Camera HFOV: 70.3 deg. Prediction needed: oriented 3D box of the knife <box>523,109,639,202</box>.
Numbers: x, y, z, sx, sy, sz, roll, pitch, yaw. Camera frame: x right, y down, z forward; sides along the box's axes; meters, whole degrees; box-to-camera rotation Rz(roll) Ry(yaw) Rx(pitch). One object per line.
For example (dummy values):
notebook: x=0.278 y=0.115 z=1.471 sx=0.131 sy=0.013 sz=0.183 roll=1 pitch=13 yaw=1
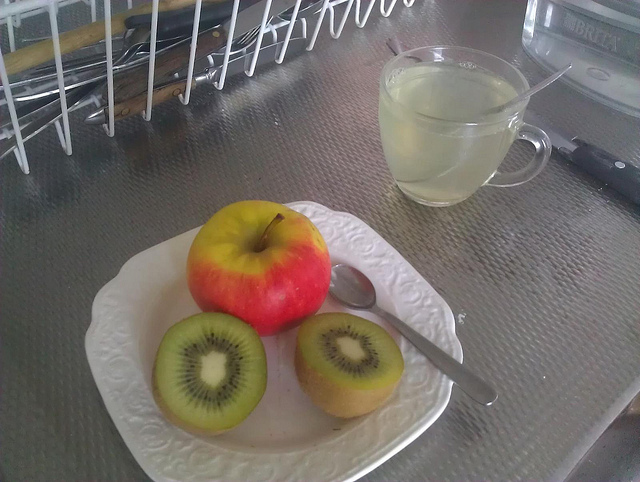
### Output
knife: x=0.398 y=-0.126 z=0.693 sx=0.028 sy=0.018 sz=0.219 roll=-40 pitch=51 yaw=9

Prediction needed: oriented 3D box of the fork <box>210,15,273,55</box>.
fork: x=-0.126 y=-0.320 z=0.735 sx=0.110 sy=0.063 sz=0.093 roll=-9 pitch=18 yaw=-19

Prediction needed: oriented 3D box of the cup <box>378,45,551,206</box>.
cup: x=0.162 y=-0.146 z=0.614 sx=0.177 sy=0.174 sz=0.175 roll=4 pitch=54 yaw=-6

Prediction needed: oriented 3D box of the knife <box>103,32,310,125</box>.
knife: x=-0.146 y=-0.311 z=0.722 sx=0.045 sy=0.062 sz=0.425 roll=-6 pitch=22 yaw=44
